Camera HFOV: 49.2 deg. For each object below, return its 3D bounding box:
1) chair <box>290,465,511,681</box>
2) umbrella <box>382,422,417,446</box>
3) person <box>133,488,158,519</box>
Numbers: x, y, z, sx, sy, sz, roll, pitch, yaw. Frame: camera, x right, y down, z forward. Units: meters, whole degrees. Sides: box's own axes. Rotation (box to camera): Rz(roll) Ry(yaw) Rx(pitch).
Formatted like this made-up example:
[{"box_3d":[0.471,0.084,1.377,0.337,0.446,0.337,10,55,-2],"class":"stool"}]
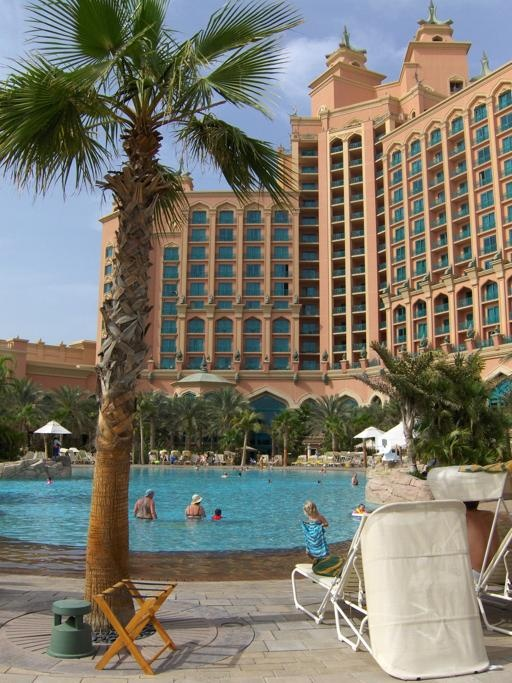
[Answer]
[{"box_3d":[0.846,1.557,3.877,0.916,0.950,1.568,1,-10,-6],"class":"chair"},{"box_3d":[6.382,4.317,25.921,1.924,0.829,1.891,1,-9,-8],"class":"umbrella"},{"box_3d":[-2.644,3.897,13.249,0.478,0.758,0.651,1,-6,-12],"class":"person"}]
